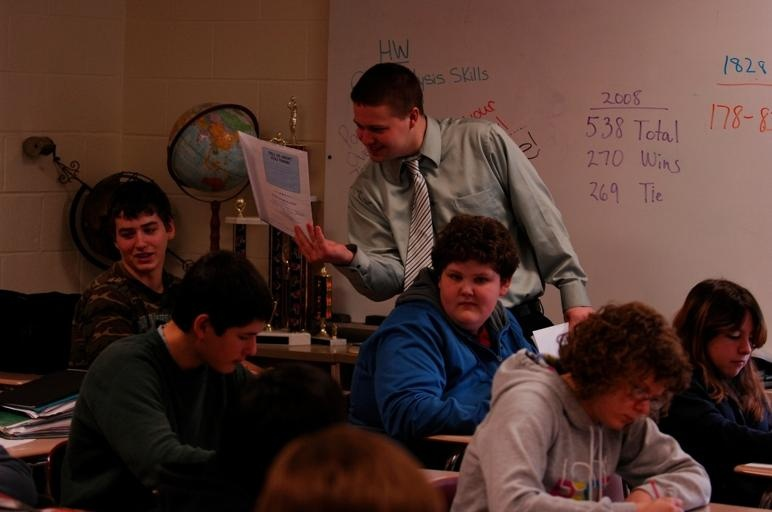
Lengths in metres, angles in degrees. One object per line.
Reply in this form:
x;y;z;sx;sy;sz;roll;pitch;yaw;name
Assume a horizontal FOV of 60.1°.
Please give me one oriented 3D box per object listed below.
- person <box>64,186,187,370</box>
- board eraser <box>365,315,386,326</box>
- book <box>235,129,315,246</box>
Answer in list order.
-1.282;0.081;3.348;0.592;1.186;0.536;-9;19;-29;person
-0.066;0.376;3.923;0.098;0.090;0.099;3;3;43;board eraser
-0.410;-0.254;2.579;0.299;0.429;0.029;14;-30;-42;book
